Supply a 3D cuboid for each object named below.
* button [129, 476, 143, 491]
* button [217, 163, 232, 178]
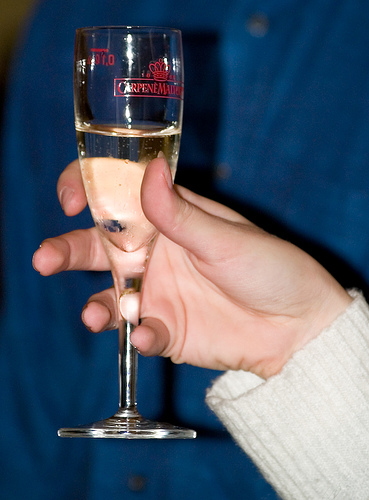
[{"bbox_3d":[-0.085,0.407,0.944,0.025,0.021,0.006,16,-19,-38],"label":"button"},{"bbox_3d":[0.071,-0.142,0.952,0.024,0.020,0.004,-8,4,5],"label":"button"}]
